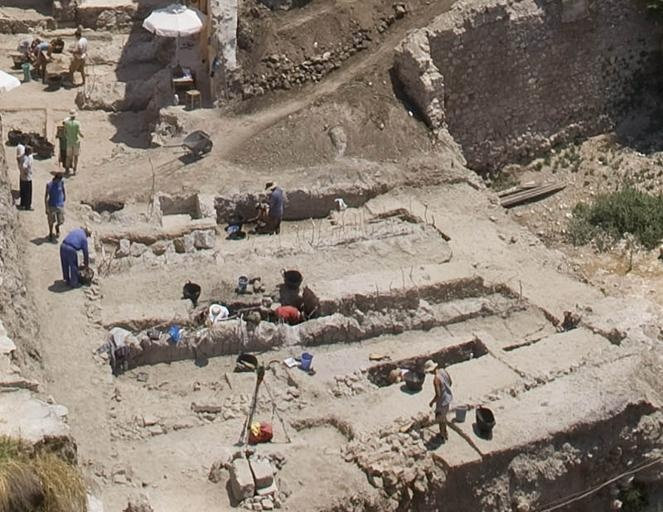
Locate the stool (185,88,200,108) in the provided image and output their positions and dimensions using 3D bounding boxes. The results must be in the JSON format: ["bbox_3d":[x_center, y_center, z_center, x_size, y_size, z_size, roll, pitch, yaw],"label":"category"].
[{"bbox_3d":[-4.536,-5.171,35.948,0.484,0.644,0.477,15,24,38],"label":"stool"}]

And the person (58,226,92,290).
[{"bbox_3d":[-6.705,0.092,28.512,0.527,1.154,0.928,13,38,22],"label":"person"}]

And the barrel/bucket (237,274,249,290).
[{"bbox_3d":[-2.406,0.710,29.724,0.285,0.353,0.324,-5,45,-10],"label":"barrel/bucket"}]

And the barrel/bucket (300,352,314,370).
[{"bbox_3d":[-0.632,2.747,28.245,0.300,0.385,0.364,3,19,2],"label":"barrel/bucket"}]

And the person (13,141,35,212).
[{"bbox_3d":[-8.515,-2.191,30.173,0.613,1.690,0.800,-14,35,-16],"label":"person"}]

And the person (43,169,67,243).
[{"bbox_3d":[-7.543,-1.356,29.482,0.435,1.775,0.871,17,39,28],"label":"person"}]

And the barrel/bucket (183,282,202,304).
[{"bbox_3d":[-3.756,1.026,29.348,0.387,0.558,0.549,4,31,-6],"label":"barrel/bucket"}]

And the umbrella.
[{"bbox_3d":[-5.286,-7.686,36.689,1.832,1.855,2.127,1,53,-7],"label":"umbrella"}]

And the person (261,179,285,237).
[{"bbox_3d":[-1.731,-1.387,32.448,0.561,1.544,1.030,-1,34,3],"label":"person"}]

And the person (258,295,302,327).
[{"bbox_3d":[-1.352,1.506,29.291,0.887,0.381,0.700,2,43,-12],"label":"person"}]

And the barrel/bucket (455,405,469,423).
[{"bbox_3d":[3.220,3.963,27.034,0.288,0.370,0.339,7,6,22],"label":"barrel/bucket"}]

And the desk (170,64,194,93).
[{"bbox_3d":[-4.997,-5.884,36.361,0.763,1.431,0.876,-2,30,-11],"label":"desk"}]
